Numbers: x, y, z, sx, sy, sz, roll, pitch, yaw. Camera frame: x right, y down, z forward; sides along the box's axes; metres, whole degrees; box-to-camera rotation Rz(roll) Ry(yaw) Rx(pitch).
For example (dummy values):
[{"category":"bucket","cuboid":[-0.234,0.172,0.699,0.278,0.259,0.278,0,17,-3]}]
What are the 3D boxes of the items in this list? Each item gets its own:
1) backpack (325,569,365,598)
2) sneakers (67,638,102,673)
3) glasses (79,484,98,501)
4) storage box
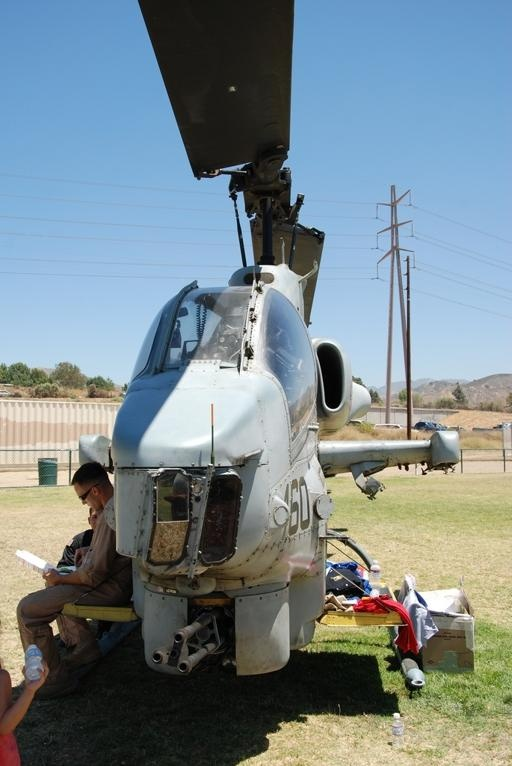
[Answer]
[{"category":"backpack","cuboid":[0.826,1.905,6.220,0.319,0.122,0.419,0,-2,-2]},{"category":"sneakers","cuboid":[-1.386,2.206,5.388,0.208,0.091,0.262,-16,-29,-19]},{"category":"glasses","cuboid":[-1.338,0.879,5.278,0.150,0.040,0.142,-36,-5,-29]},{"category":"storage box","cuboid":[1.542,2.078,5.718,0.516,0.497,0.827,-2,-5,4]}]
